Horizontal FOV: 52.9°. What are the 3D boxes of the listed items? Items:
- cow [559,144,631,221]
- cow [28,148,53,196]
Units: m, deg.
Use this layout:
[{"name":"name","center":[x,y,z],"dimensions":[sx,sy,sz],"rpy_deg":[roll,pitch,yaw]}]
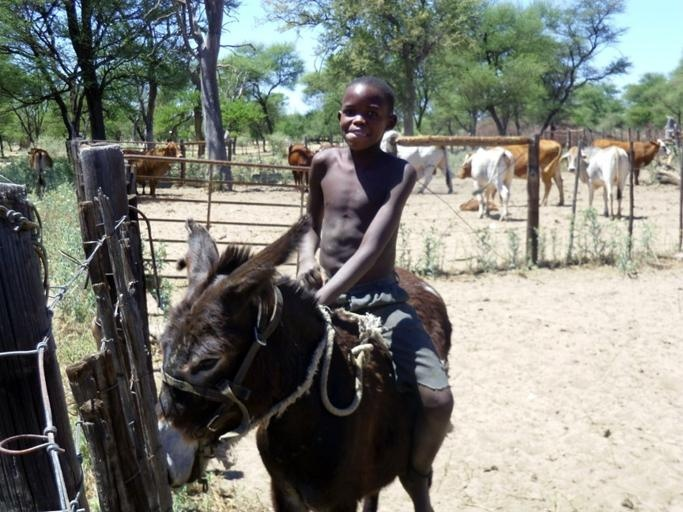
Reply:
[{"name":"cow","center":[6.370,-1.835,16.705],"dimensions":[0.957,1.729,2.503],"rpy_deg":[0,5,13]},{"name":"cow","center":[-8.888,-2.515,20.282],"dimensions":[0.642,1.567,7.710],"rpy_deg":[-3,5,-23]}]
